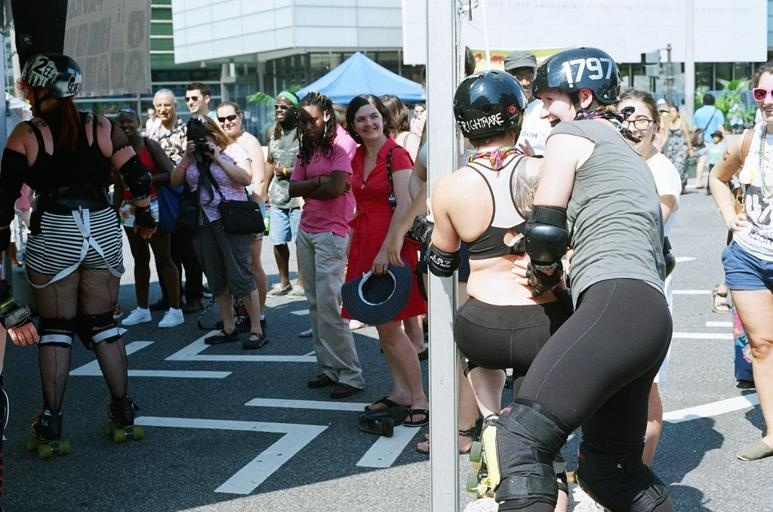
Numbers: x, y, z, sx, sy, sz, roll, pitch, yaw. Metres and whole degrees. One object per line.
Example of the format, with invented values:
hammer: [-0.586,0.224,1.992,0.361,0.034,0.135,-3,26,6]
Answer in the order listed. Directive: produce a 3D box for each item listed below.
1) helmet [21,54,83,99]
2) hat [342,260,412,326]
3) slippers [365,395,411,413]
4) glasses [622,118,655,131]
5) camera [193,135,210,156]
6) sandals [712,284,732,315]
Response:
helmet: [-2.597,-1.388,5.953,0.412,0.327,0.238,-7,12,-25]
hat: [-0.077,0.301,6.093,0.423,0.580,0.519,-2,1,-30]
slippers: [-0.013,1.267,6.463,0.341,0.104,0.154,2,6,-4]
glasses: [1.773,-0.926,5.416,0.170,0.080,0.190,5,14,29]
camera: [-1.950,-1.161,8.099,0.158,0.175,0.172,0,15,0]
sandals: [4.013,0.534,9.246,0.147,0.129,0.446,-2,50,15]
